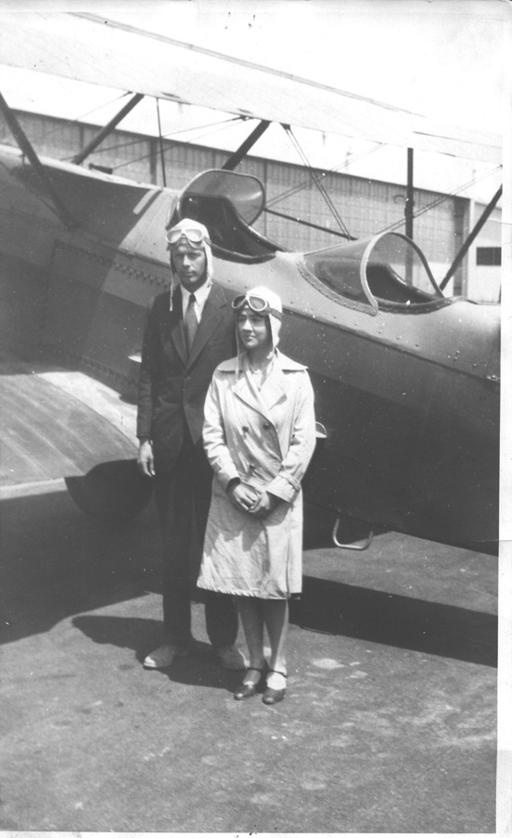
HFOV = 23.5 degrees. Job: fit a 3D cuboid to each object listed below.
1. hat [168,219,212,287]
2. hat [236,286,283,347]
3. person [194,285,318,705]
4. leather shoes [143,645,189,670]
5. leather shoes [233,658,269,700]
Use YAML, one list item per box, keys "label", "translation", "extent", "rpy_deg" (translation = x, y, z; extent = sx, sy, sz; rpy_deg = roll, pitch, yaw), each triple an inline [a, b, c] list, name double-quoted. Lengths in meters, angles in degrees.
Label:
- label: "hat"
  translation: [-0.202, -0.501, 3.821]
  extent: [0.144, 0.212, 0.157]
  rpy_deg: [-5, -5, -14]
- label: "hat"
  translation: [-0.001, -0.310, 3.746]
  extent: [0.136, 0.189, 0.140]
  rpy_deg: [7, -1, 29]
- label: "person"
  translation: [0.004, 0.076, 3.724]
  extent: [0.339, 0.914, 0.148]
  rpy_deg: [2, 6, -3]
- label: "leather shoes"
  translation: [-0.290, 0.738, 3.811]
  extent: [0.117, 0.055, 0.064]
  rpy_deg: [-4, 10, -33]
- label: "leather shoes"
  translation: [-0.007, 0.800, 3.817]
  extent: [0.053, 0.072, 0.154]
  rpy_deg: [2, 16, 32]
